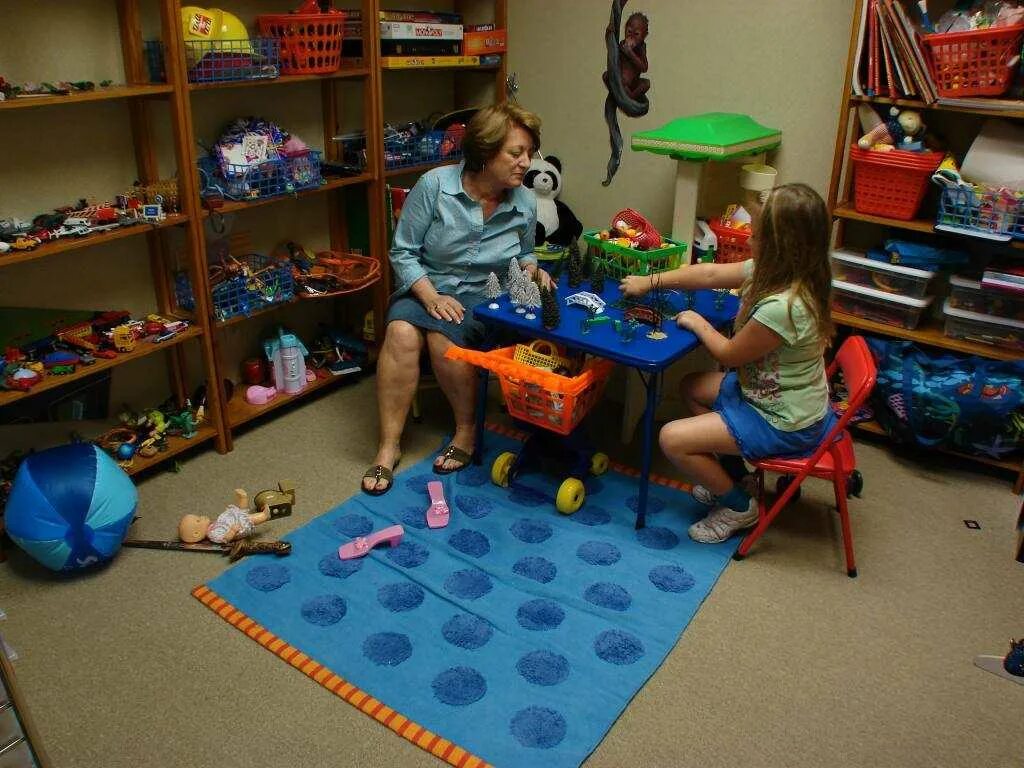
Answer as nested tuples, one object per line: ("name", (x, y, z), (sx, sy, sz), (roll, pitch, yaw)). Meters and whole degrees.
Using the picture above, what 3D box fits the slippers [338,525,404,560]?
("slippers", (-0.482, 0.543, 2.517), (0.228, 0.059, 0.091), (-11, 32, -17))

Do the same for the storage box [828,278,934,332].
("storage box", (1.536, -0.336, 3.126), (0.468, 0.141, 0.313), (19, 31, 33))

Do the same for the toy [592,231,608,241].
("toy", (0.375, -0.637, 3.046), (0.054, 0.029, 0.065), (-5, 22, 1))

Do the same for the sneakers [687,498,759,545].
("sneakers", (0.730, 0.505, 2.627), (0.304, 0.129, 0.113), (-18, 40, 20))

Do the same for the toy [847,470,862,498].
("toy", (1.233, 0.357, 2.603), (0.043, 0.119, 0.125), (1, -10, 17))

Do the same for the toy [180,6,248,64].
("toy", (-1.095, -1.325, 2.738), (0.216, 0.194, 0.330), (-1, 26, -3))

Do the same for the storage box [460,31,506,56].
("storage box", (-0.132, -1.704, 3.601), (0.168, 0.102, 0.231), (14, 24, 31))

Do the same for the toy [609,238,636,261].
("toy", (0.453, -0.547, 2.930), (0.079, 0.041, 0.114), (-22, 38, -34))

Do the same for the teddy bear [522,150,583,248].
("teddy bear", (0.166, -0.871, 3.418), (0.315, 0.407, 0.329), (12, 24, 21))

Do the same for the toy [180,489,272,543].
("toy", (-1.001, 0.482, 2.572), (0.286, 0.111, 0.165), (-8, 27, -16))

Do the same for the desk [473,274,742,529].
("desk", (0.355, -0.082, 3.016), (0.935, 0.788, 1.110), (19, 37, 26))

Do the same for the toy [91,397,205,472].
("toy", (-1.435, 0.196, 2.895), (0.203, 0.080, 0.281), (17, 29, 22))

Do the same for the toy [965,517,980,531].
("toy", (1.705, 0.521, 2.681), (0.035, 0.011, 0.034), (-8, 23, -10))

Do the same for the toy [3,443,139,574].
("toy", (-1.461, 0.409, 2.402), (0.318, 0.318, 0.331), (18, 31, 31))

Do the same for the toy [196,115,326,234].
("toy", (-1.047, -0.902, 3.006), (0.485, 0.279, 0.468), (20, 30, 33))

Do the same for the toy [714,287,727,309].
("toy", (0.786, -0.328, 2.740), (0.057, 0.068, 0.034), (0, -11, 15))

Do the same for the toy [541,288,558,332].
("toy", (0.141, -0.275, 2.592), (0.064, 0.127, 0.105), (2, 26, 2))

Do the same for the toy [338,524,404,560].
("toy", (-0.475, 0.545, 2.522), (0.227, 0.060, 0.090), (-11, 32, -17))

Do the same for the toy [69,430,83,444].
("toy", (-1.657, 0.196, 2.756), (0.052, 0.042, 0.047), (12, 18, 36))

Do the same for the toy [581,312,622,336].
("toy", (0.321, -0.232, 2.604), (0.132, 0.043, 0.184), (3, 26, 4))

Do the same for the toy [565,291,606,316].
("toy", (0.277, -0.315, 2.741), (0.138, 0.038, 0.081), (16, 30, 27))

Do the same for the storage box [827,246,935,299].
("storage box", (1.534, -0.457, 3.081), (0.394, 0.110, 0.290), (20, 30, 33))

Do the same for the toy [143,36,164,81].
("toy", (-1.303, -1.191, 2.663), (0.059, 0.138, 0.128), (-22, 34, -37))

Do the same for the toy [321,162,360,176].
("toy", (-0.778, -0.992, 3.301), (0.146, 0.047, 0.082), (12, 26, 19))

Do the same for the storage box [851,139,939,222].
("storage box", (1.512, -0.799, 2.887), (0.361, 0.235, 0.304), (12, 25, 26))

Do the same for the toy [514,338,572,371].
("toy", (0.119, -0.109, 2.715), (0.143, 0.112, 0.051), (11, 59, -6))

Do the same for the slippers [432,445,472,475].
("slippers", (-0.246, 0.310, 2.934), (0.088, 0.053, 0.158), (9, 19, 29))

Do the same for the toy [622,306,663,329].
("toy", (0.479, -0.249, 2.610), (0.122, 0.029, 0.070), (18, 40, 33))

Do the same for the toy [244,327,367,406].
("toy", (-0.956, -0.092, 3.377), (0.345, 0.175, 0.439), (13, 27, 27))
